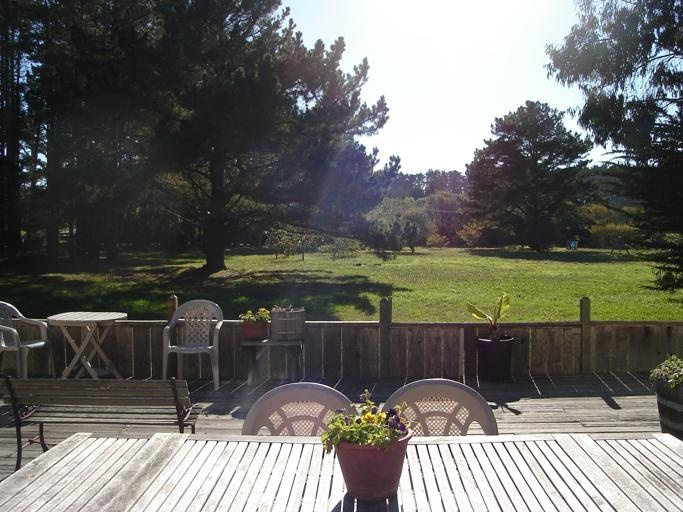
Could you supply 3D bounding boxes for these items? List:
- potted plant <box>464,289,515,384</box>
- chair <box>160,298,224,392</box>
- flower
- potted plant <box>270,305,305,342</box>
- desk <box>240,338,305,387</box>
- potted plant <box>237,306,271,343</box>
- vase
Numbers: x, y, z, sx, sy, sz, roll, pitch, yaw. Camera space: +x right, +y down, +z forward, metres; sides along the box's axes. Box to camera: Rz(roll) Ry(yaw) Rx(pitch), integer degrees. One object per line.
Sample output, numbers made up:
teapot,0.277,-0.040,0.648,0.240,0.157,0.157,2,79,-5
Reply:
potted plant,2.063,1.074,7.823,0.572,1.147,0.891,-1,2,14
chair,-1.912,1.131,7.429,0.672,1.134,0.760,0,-6,1
flower,0.184,1.123,3.488,0.582,0.377,0.547,-2,-19,-36
potted plant,-0.712,0.854,7.336,0.352,0.413,0.399,0,0,0
desk,-0.901,1.562,7.476,0.839,0.792,0.555,0,-4,0
potted plant,-1.159,0.884,7.564,0.323,0.372,0.325,-2,4,25
vase,0.220,1.293,3.586,0.430,0.364,0.479,1,-5,19
